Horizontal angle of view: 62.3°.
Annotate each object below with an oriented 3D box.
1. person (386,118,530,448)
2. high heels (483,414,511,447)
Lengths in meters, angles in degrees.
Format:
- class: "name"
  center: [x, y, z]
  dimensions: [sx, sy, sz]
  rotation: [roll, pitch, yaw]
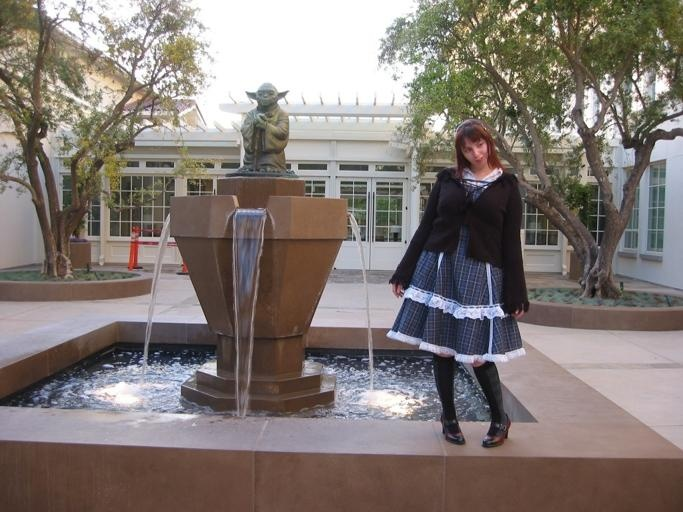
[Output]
- class: "person"
  center: [0.700, 0.138, 3.368]
  dimensions: [0.783, 1.896, 0.391]
  rotation: [2, 5, 5]
- class: "high heels"
  center: [0.919, 1.028, 3.350]
  dimensions: [0.091, 0.118, 0.253]
  rotation: [-4, 0, 32]
